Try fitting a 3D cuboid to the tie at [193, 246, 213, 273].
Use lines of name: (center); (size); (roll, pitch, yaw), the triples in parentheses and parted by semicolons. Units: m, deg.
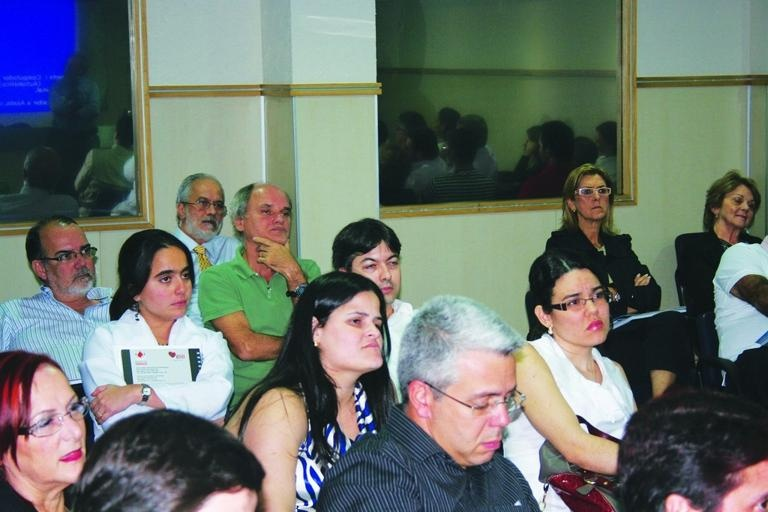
tie: (-1.273, 0.016, 4.997); (0.146, 0.222, 0.068); (-1, -37, -18)
